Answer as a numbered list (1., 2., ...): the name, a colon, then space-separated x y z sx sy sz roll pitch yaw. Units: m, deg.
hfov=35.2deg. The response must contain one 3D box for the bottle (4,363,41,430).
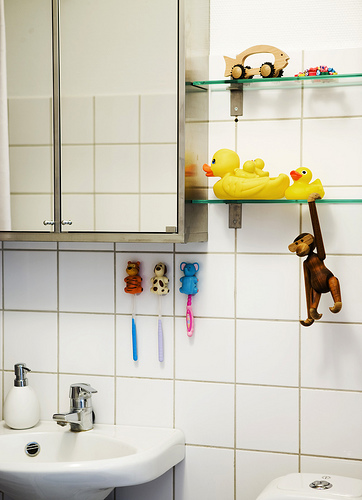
1. bottle: -0.445 0.412 1.602 0.097 0.180 0.065 -2 8 -19

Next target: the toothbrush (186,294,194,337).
1. toothbrush: 0.026 0.183 1.577 0.023 0.118 0.026 -3 9 -24

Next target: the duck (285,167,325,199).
1. duck: 0.304 -0.165 1.412 0.093 0.084 0.063 1 12 -2

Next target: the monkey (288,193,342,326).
1. monkey: 0.324 0.022 1.404 0.123 0.322 0.106 1 6 4

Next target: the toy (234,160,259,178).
1. toy: 0.161 -0.199 1.412 0.065 0.034 0.023 -13 -14 -20

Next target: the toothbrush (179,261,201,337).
1. toothbrush: 0.023 0.136 1.571 0.059 0.209 0.050 1 8 3

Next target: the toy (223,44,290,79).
1. toy: 0.190 -0.478 1.467 0.159 0.084 0.123 1 8 3

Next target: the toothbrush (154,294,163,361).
1. toothbrush: -0.061 0.217 1.602 0.021 0.182 0.047 -1 8 -13

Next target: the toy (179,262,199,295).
1. toy: 0.022 0.076 1.563 0.052 0.083 0.050 1 8 2

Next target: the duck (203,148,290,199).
1. duck: 0.159 -0.190 1.441 0.207 0.132 0.147 2 12 15

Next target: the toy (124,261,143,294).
1. toy: -0.134 0.075 1.595 0.045 0.082 0.042 -1 8 -8

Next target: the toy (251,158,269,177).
1. toy: 0.197 -0.205 1.429 0.029 0.051 0.020 1 -34 -2

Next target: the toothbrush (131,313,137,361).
1. toothbrush: -0.132 0.245 1.616 0.015 0.129 0.033 -1 8 -8

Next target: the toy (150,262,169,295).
1. toy: -0.059 0.083 1.581 0.050 0.093 0.048 0 8 -1
